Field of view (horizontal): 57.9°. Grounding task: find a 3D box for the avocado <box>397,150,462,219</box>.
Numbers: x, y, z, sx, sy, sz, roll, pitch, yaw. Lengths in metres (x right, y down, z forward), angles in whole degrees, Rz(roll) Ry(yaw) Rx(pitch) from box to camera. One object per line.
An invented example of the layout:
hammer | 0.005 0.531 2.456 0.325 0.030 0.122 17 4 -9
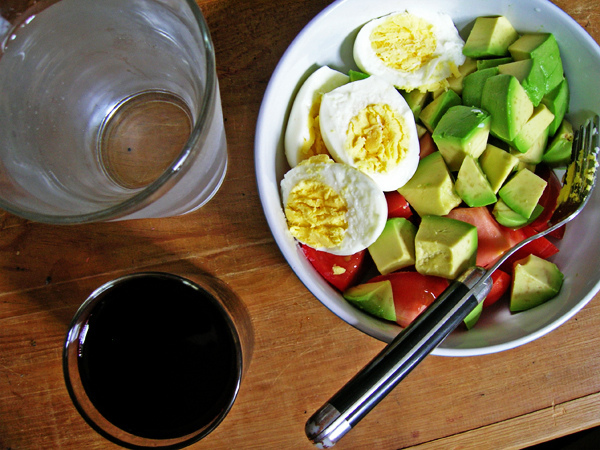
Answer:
avocado | 0.340 -0.093 1.427 0.163 0.165 0.079 52 19 20

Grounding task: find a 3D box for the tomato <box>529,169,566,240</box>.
tomato | 0.657 -0.055 1.447 0.111 0.137 0.050 6 3 21

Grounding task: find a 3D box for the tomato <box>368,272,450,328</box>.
tomato | 0.284 0.173 1.478 0.236 0.116 0.219 6 21 19

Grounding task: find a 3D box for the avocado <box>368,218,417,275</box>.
avocado | 0.241 0.055 1.453 0.108 0.128 0.169 6 29 15

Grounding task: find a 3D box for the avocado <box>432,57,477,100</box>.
avocado | 0.429 -0.401 1.479 0.081 0.088 0.154 9 34 15

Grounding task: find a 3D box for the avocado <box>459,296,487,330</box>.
avocado | 0.402 0.211 1.287 0.043 0.072 0.071 47 12 31

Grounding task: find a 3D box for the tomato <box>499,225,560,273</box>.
tomato | 0.605 0.064 1.455 0.133 0.126 0.035 47 0 2

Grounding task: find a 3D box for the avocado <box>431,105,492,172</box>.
avocado | 0.428 -0.230 1.448 0.093 0.154 0.160 -19 31 -35

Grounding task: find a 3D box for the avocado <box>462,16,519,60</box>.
avocado | 0.489 -0.485 1.413 0.143 0.099 0.101 -8 20 -38

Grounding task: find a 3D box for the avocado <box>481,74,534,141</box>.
avocado | 0.520 -0.358 1.457 0.166 0.084 0.244 -1 27 -5
